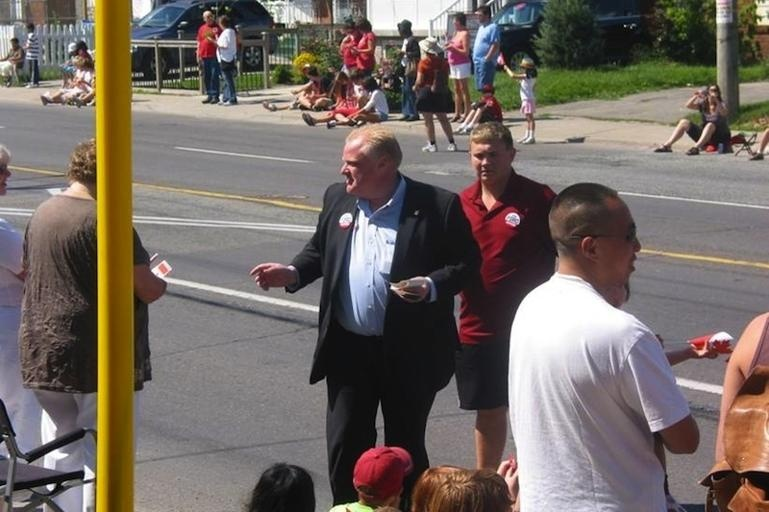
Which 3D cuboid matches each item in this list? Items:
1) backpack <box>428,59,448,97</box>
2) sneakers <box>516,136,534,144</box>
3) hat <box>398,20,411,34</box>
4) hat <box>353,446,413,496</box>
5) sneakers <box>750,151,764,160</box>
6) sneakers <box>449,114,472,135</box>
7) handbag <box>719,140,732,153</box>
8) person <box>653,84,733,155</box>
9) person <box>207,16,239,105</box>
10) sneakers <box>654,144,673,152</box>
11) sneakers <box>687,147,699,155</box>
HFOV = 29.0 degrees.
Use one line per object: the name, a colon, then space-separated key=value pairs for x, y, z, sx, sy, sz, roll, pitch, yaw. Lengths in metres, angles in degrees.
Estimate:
backpack: x=1.026 y=-3.544 z=28.090 sx=0.382 sy=1.026 sz=0.140 roll=0 pitch=5 yaw=26
sneakers: x=2.644 y=-2.170 z=27.723 sx=0.243 sy=0.103 sz=0.137 roll=-3 pitch=5 yaw=-38
hat: x=0.429 y=-4.811 z=31.374 sx=0.228 sy=0.278 sz=0.710 roll=-2 pitch=9 yaw=-2
hat: x=-0.003 y=1.983 z=13.920 sx=0.345 sy=0.292 sz=0.532 roll=19 pitch=47 yaw=24
sneakers: x=6.348 y=-1.704 z=25.332 sx=0.253 sy=0.119 sz=0.113 roll=6 pitch=11 yaw=34
sneakers: x=1.606 y=-2.567 z=29.171 sx=0.189 sy=0.271 sz=0.592 roll=8 pitch=13 yaw=29
handbag: x=6.032 y=-1.925 z=26.254 sx=0.218 sy=0.244 sz=0.167 roll=1 pitch=1 yaw=-13
person: x=5.555 y=-2.435 z=26.419 sx=1.144 sy=1.190 sz=1.206 roll=-5 pitch=10 yaw=-25
person: x=-3.575 y=-4.388 z=33.428 sx=0.533 sy=1.993 sz=1.340 roll=-2 pitch=8 yaw=-7
sneakers: x=4.974 y=-1.928 z=26.549 sx=0.333 sy=0.161 sz=0.126 roll=3 pitch=8 yaw=6
sneakers: x=5.418 y=-1.857 z=26.174 sx=0.207 sy=0.138 sz=0.321 roll=0 pitch=9 yaw=11
